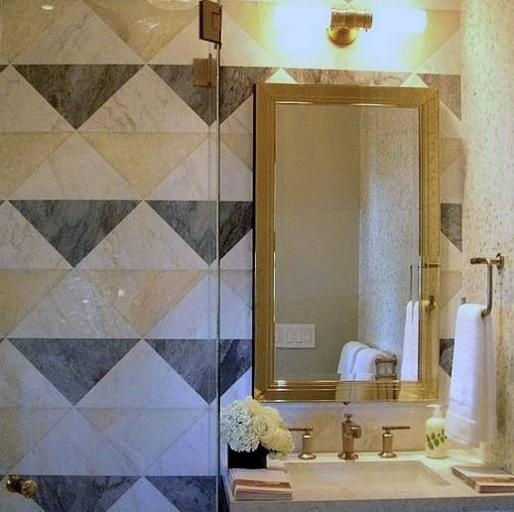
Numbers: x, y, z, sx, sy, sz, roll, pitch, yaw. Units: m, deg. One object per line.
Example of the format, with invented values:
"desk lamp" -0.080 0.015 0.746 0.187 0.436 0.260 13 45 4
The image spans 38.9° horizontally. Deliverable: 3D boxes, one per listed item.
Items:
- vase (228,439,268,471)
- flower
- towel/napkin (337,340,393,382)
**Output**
"vase" -0.032 0.692 2.469 0.124 0.110 0.075 0 4 0
"flower" -0.007 0.578 2.460 0.191 0.139 0.167 10 -9 -6
"towel/napkin" 0.405 0.367 2.772 0.141 0.202 0.131 8 5 9
